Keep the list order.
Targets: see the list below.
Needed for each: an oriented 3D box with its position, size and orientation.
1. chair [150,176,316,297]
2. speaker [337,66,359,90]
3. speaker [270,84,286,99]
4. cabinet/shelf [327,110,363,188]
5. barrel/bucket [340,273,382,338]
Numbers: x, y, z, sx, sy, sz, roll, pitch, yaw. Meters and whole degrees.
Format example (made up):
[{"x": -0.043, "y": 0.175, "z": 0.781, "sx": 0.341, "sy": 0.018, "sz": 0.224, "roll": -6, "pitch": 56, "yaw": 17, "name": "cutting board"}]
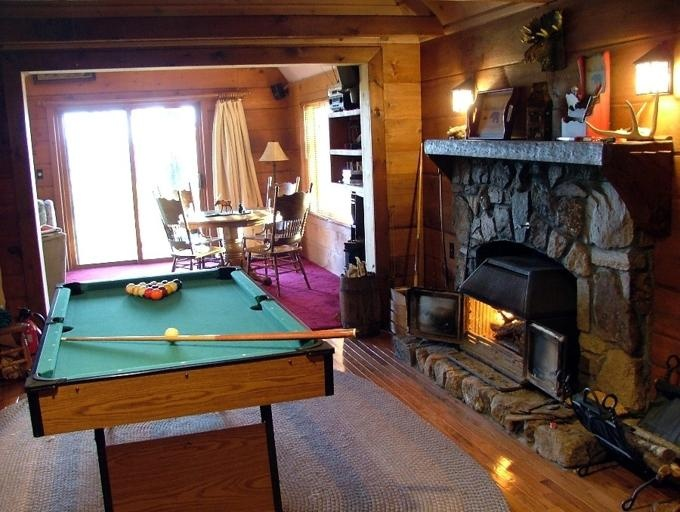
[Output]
[{"x": -1.403, "y": -0.230, "z": 6.896, "sx": 2.341, "sy": 1.373, "sz": 2.015, "roll": 2, "pitch": 12, "yaw": -16, "name": "chair"}, {"x": 0.094, "y": -1.692, "z": 4.919, "sx": 0.216, "sy": 0.190, "sz": 0.349, "roll": 2, "pitch": -30, "yaw": 3, "name": "speaker"}, {"x": -0.932, "y": -2.586, "z": 8.087, "sx": 0.253, "sy": 0.219, "sz": 0.236, "roll": 5, "pitch": -31, "yaw": 5, "name": "speaker"}, {"x": 0.069, "y": -1.158, "z": 5.520, "sx": 0.291, "sy": 0.677, "sz": 0.847, "roll": -7, "pitch": 15, "yaw": -19, "name": "cabinet/shelf"}, {"x": 0.209, "y": 0.451, "z": 4.787, "sx": 0.385, "sy": 0.605, "sz": 0.216, "roll": -7, "pitch": 14, "yaw": -9, "name": "barrel/bucket"}]
